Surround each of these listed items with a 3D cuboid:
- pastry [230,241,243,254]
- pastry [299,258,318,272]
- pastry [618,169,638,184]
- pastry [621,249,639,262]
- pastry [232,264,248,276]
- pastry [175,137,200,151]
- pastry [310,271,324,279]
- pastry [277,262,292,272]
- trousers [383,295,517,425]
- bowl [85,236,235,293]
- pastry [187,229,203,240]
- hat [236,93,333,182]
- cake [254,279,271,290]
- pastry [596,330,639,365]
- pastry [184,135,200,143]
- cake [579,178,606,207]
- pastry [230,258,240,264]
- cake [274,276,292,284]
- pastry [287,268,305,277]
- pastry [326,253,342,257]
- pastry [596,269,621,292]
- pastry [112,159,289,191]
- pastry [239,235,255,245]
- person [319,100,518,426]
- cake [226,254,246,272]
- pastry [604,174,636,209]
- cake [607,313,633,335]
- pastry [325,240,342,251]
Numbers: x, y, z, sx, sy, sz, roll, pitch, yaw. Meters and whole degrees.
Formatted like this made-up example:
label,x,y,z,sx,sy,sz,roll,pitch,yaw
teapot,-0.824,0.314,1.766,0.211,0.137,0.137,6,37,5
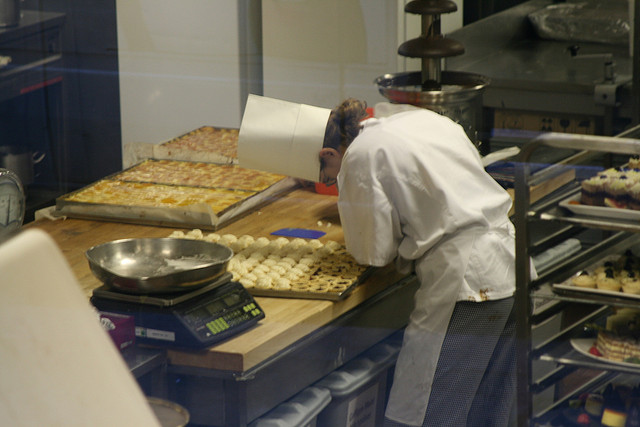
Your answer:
label,x,y,z,sx,sy,sz,roll,pitch,yaw
pastry,-0.294,0.118,2.469,0.036,0.025,0.035,-2,-3,5
pastry,-0.035,0.172,2.354,0.045,0.012,0.042,37,2,-23
pastry,0.962,-0.120,2.173,0.051,0.014,0.047,0,22,-8
pastry,1.035,0.141,2.331,0.043,0.024,0.047,5,15,6
pastry,-0.257,0.184,2.294,0.033,0.010,0.031,8,24,-19
pastry,-0.621,-0.323,3.258,0.087,0.009,0.014,23,34,10
pastry,-0.009,0.202,2.292,0.023,0.006,0.024,12,26,36
pastry,-0.110,0.175,2.329,0.030,0.009,0.031,12,15,-24
trousers,0.452,0.499,2.333,0.268,0.486,0.391,31,13,33
bowl,-0.447,0.132,1.974,0.357,0.088,0.327,-2,19,1
pastry,-0.461,0.070,2.574,0.043,0.011,0.042,1,32,1
hat,-0.128,-0.277,2.584,0.355,0.292,0.112,6,22,23
cake,-0.181,0.222,2.182,0.051,0.020,0.036,-4,20,-4
pastry,0.940,0.422,2.210,0.091,0.060,0.122,9,3,4
pastry,-0.612,-0.356,3.324,0.048,0.013,0.045,1,23,1
cake,0.869,-0.072,2.191,0.091,0.084,0.114,4,18,33
pastry,-0.284,0.159,2.330,0.036,0.008,0.033,2,22,-2
cake,-0.118,0.213,2.222,0.057,0.014,0.058,-4,20,-5
pastry,-0.075,0.190,2.295,0.030,0.011,0.032,16,6,-9
pastry,0.047,0.142,2.430,0.047,0.005,0.026,-6,20,-10
pastry,0.908,0.212,2.174,0.051,0.042,0.051,4,10,18
pastry,-0.505,-0.158,2.971,0.260,0.041,0.443,-8,11,7
pastry,-0.261,0.096,2.522,0.034,0.010,0.033,14,23,-17
person,0.373,0.222,2.346,0.588,1.080,0.381,-4,20,-2
cake,-0.281,0.159,2.344,0.059,0.014,0.056,-24,12,20
pastry,0.909,-0.061,2.120,0.082,0.074,0.044,-18,21,-40
cake,0.974,0.358,2.270,0.094,0.060,0.049,-4,7,-36
pastry,0.044,0.115,2.482,0.060,0.016,0.060,4,20,17
